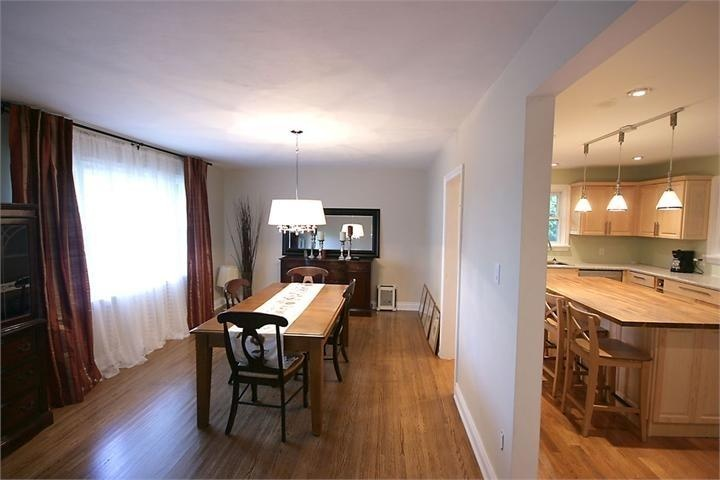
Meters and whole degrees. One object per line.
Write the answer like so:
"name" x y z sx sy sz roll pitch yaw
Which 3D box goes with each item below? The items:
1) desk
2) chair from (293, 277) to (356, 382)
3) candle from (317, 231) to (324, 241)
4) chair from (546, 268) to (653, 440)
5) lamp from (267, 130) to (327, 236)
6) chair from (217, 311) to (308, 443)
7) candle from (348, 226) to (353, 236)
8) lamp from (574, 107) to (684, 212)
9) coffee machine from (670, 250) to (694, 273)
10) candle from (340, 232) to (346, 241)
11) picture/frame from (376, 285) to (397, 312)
"desk" -1.256 1.476 5.374 1.298 0.970 2.196 7 -10 -15
"chair" -0.439 1.092 5.620 0.637 0.980 0.637 -1 5 9
"candle" -0.671 -0.073 7.718 0.133 0.151 0.134 1 1 5
"chair" 2.476 1.243 4.855 0.872 1.283 0.898 1 4 17
"lamp" -0.722 -0.682 5.294 0.636 1.115 0.645 0 -3 -1
"chair" -0.959 1.272 4.735 0.834 1.243 0.866 0 4 -3
"candle" -0.170 -0.142 7.611 0.118 0.187 0.115 2 1 10
"lamp" 3.371 -0.916 6.030 0.309 1.086 1.715 1 0 -15
"coffee machine" 4.598 0.309 6.663 0.252 0.316 0.296 6 5 34
"candle" -0.311 -0.054 7.637 0.125 0.142 0.124 1 -5 -15
"picture/frame" 0.425 0.982 7.771 0.413 0.509 0.086 0 -2 -1
